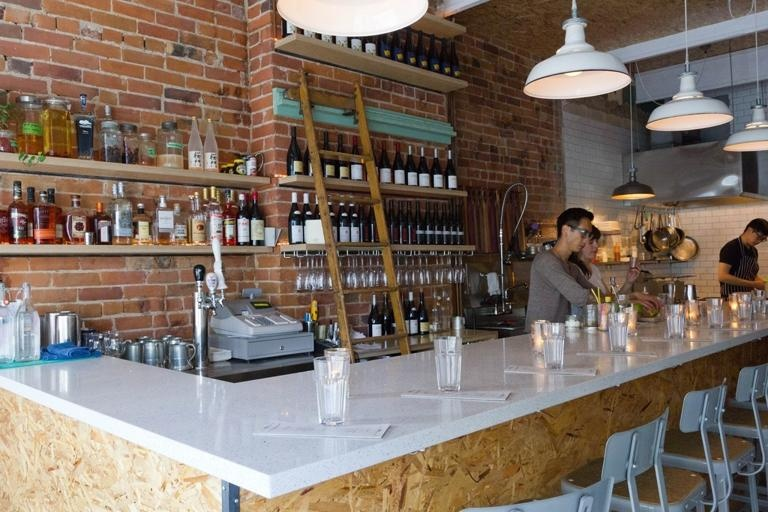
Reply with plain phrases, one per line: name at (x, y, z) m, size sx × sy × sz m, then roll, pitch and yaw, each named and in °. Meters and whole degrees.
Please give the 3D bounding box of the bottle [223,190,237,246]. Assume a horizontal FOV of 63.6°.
bottle at (-1.061, -0.252, 4.282) m, size 0.088 × 0.388 × 0.263 m, roll -2°, pitch -4°, yaw -12°

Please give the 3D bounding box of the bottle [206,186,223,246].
bottle at (-1.130, -0.263, 4.181) m, size 0.093 × 0.372 × 0.244 m, roll -3°, pitch -4°, yaw 1°

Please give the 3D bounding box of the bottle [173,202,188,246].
bottle at (-1.331, -0.206, 4.049) m, size 0.061 × 0.255 × 0.125 m, roll -5°, pitch -4°, yaw 28°

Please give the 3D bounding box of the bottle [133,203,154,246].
bottle at (-1.525, -0.200, 3.916) m, size 0.112 × 0.274 × 0.215 m, roll -1°, pitch -4°, yaw -20°

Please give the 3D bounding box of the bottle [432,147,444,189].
bottle at (0.463, -0.718, 5.161) m, size 0.109 × 0.382 × 0.352 m, roll -3°, pitch -4°, yaw 4°

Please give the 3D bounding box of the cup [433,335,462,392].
cup at (0.268, 0.434, 2.520) m, size 0.099 × 0.217 × 0.145 m, roll -3°, pitch -4°, yaw 1°

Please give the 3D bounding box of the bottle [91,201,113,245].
bottle at (-1.704, -0.190, 3.739) m, size 0.109 × 0.268 × 0.212 m, roll -1°, pitch -4°, yaw -24°

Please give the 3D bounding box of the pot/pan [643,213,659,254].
pot/pan at (3.495, -0.301, 8.008) m, size 0.081 × 0.475 × 0.292 m, roll 5°, pitch -2°, yaw 30°

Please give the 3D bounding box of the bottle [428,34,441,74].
bottle at (0.424, -1.662, 5.141) m, size 0.093 × 0.344 × 0.183 m, roll -3°, pitch -4°, yaw 6°

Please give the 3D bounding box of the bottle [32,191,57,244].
bottle at (-1.930, -0.205, 3.526) m, size 0.119 × 0.273 × 0.071 m, roll 0°, pitch -4°, yaw -36°

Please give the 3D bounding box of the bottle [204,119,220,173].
bottle at (-1.173, -0.746, 4.197) m, size 0.098 × 0.412 × 0.228 m, roll -2°, pitch -4°, yaw -14°

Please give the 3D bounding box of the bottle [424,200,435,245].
bottle at (0.391, -0.257, 5.107) m, size 0.084 × 0.332 × 0.302 m, roll -3°, pitch -4°, yaw 5°

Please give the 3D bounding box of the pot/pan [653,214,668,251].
pot/pan at (3.653, -0.288, 8.104) m, size 0.080 × 0.485 × 0.289 m, roll -9°, pitch -14°, yaw 17°

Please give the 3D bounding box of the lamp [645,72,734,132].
lamp at (2.053, -0.922, 4.071) m, size 0.513 × 0.291 × 0.488 m, roll -6°, pitch 5°, yaw -32°

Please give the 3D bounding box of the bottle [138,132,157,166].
bottle at (-1.507, -0.671, 3.946) m, size 0.100 × 0.214 × 0.152 m, roll -2°, pitch -4°, yaw -11°

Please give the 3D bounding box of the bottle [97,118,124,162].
bottle at (-1.653, -0.683, 3.742) m, size 0.133 × 0.288 × 0.174 m, roll -1°, pitch -4°, yaw -23°

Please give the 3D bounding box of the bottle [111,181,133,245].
bottle at (-1.625, -0.255, 3.832) m, size 0.130 × 0.386 × 0.202 m, roll -1°, pitch -4°, yaw -21°

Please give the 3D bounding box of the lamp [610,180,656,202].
lamp at (2.659, -0.673, 6.529) m, size 0.429 × 0.159 × 0.401 m, roll -1°, pitch 1°, yaw 8°

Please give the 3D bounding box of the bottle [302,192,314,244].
bottle at (-0.534, -0.275, 4.381) m, size 0.077 × 0.383 × 0.242 m, roll -2°, pitch -4°, yaw -6°

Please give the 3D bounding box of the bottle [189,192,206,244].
bottle at (-1.237, -0.250, 4.106) m, size 0.113 × 0.372 × 0.165 m, roll -1°, pitch -4°, yaw -27°

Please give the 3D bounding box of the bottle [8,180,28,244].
bottle at (-2.076, -0.231, 3.507) m, size 0.098 × 0.349 × 0.185 m, roll -1°, pitch -4°, yaw -25°

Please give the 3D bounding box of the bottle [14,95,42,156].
bottle at (-2.005, -0.717, 3.501) m, size 0.134 × 0.339 × 0.189 m, roll -1°, pitch -4°, yaw -29°

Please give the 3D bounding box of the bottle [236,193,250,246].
bottle at (-0.957, -0.245, 4.231) m, size 0.096 × 0.354 × 0.068 m, roll -2°, pitch -4°, yaw -14°

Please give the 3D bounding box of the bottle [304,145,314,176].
bottle at (-0.528, -0.666, 4.361) m, size 0.053 × 0.226 × 0.203 m, roll -2°, pitch -4°, yaw -10°

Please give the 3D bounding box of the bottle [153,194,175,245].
bottle at (-1.406, -0.221, 3.959) m, size 0.136 × 0.301 × 0.110 m, roll -2°, pitch -4°, yaw -19°

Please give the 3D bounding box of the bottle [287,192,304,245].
bottle at (-0.613, -0.255, 4.324) m, size 0.115 × 0.379 × 0.224 m, roll -2°, pitch -4°, yaw -8°

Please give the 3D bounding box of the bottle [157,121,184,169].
bottle at (-1.384, -0.695, 4.020) m, size 0.166 × 0.327 × 0.268 m, roll -2°, pitch -4°, yaw -18°

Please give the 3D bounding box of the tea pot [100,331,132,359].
tea pot at (-1.556, 0.531, 3.650) m, size 0.228 × 0.197 × 0.124 m, roll 6°, pitch -5°, yaw -29°

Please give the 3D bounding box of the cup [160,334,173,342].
cup at (-1.340, 0.509, 3.829) m, size 0.063 × 0.025 × 0.082 m, roll 1°, pitch -4°, yaw -9°

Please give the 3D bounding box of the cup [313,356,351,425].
cup at (-0.182, 0.470, 2.219) m, size 0.114 × 0.241 × 0.163 m, roll -2°, pitch -4°, yaw -7°

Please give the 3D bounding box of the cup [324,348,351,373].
cup at (-0.162, 0.381, 2.212) m, size 0.074 × 0.076 × 0.085 m, roll 0°, pitch -6°, yaw -3°

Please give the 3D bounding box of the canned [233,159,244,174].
canned at (-0.991, -0.608, 4.255) m, size 0.103 × 0.097 × 0.097 m, roll -2°, pitch -2°, yaw 8°

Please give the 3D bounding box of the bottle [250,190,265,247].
bottle at (-0.881, -0.250, 4.347) m, size 0.103 × 0.370 × 0.169 m, roll -2°, pitch -4°, yaw -9°

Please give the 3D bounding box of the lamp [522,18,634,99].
lamp at (1.033, -0.965, 3.304) m, size 0.535 × 0.323 × 0.531 m, roll 0°, pitch 1°, yaw 24°

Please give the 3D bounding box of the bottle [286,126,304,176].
bottle at (-0.607, -0.734, 4.353) m, size 0.130 × 0.357 × 0.131 m, roll -3°, pitch -4°, yaw 0°

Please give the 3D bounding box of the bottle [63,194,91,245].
bottle at (-1.810, -0.205, 3.643) m, size 0.133 × 0.305 × 0.241 m, roll -1°, pitch -4°, yaw -27°
